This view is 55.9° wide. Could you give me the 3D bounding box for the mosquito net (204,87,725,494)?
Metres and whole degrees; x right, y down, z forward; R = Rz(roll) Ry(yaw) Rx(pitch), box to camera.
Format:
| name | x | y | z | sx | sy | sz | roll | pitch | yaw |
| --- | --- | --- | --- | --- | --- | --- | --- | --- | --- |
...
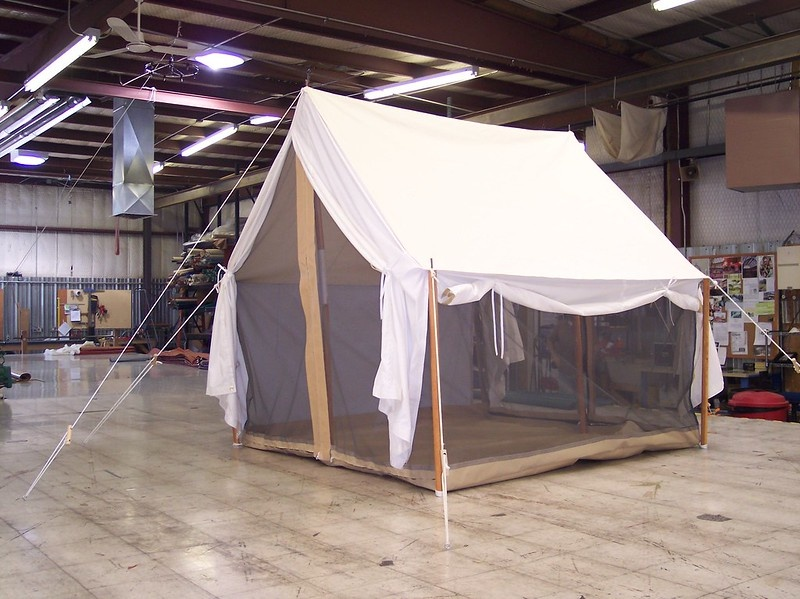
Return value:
| name | x | y | z | sx | sy | sz | roll | pitch | yaw |
| --- | --- | --- | --- | --- | --- | --- | --- | --- | --- |
| mosquito net | 0.561 | 0.117 | 7.304 | 4.128 | 3.134 | 3.260 | 5 | -8 | -33 |
